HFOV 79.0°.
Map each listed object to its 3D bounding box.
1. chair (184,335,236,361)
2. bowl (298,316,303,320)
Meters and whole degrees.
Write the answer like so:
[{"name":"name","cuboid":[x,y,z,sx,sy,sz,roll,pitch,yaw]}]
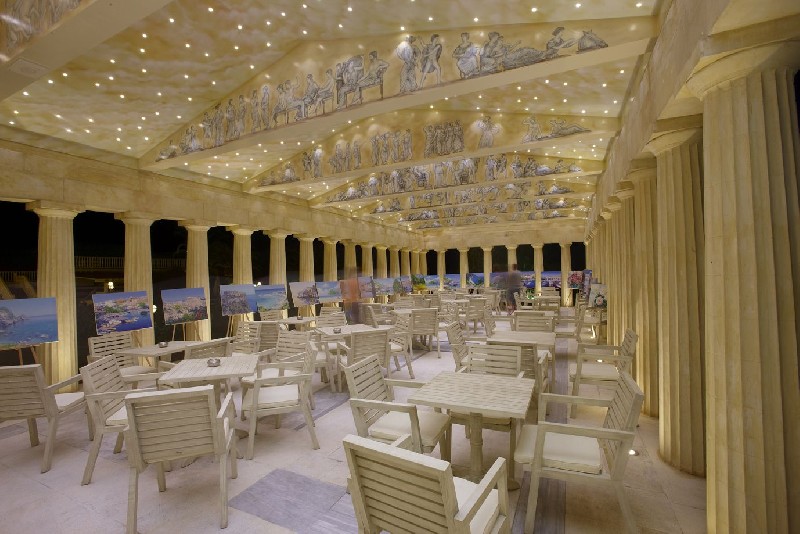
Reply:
[{"name":"chair","cuboid":[-3.465,1.506,8.887,0.503,0.687,0.518,1,3,37]},{"name":"bowl","cuboid":[-2.707,1.376,13.233,0.124,0.071,0.122,0,-2,0]}]
